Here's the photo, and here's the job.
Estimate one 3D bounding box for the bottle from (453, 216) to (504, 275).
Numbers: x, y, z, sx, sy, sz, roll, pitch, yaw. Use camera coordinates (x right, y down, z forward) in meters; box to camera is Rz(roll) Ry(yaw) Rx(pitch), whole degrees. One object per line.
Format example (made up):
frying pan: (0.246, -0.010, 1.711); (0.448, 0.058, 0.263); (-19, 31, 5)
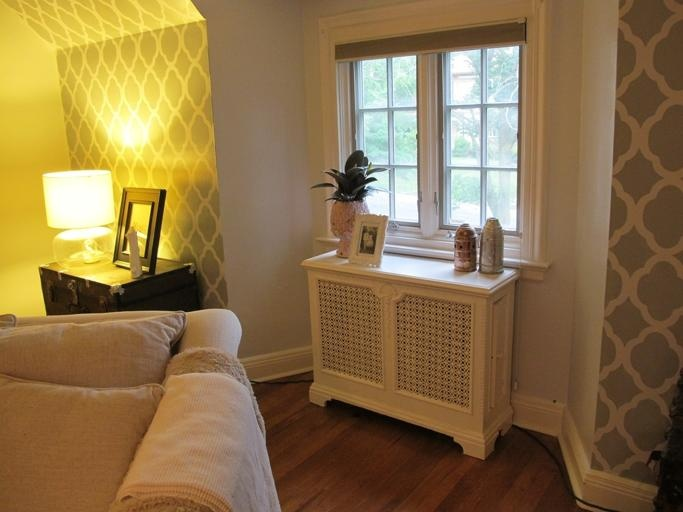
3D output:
bottle: (0.732, -0.066, 2.855); (0.314, 0.351, 0.194); (6, 18, 28)

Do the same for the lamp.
lamp: (-1.696, -0.264, 3.491); (0.396, 0.585, 0.504); (-6, 11, -24)

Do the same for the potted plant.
potted plant: (0.057, -0.286, 3.128); (0.331, 0.552, 0.370); (4, -2, -8)

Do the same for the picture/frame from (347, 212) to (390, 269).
picture/frame: (0.139, -0.084, 2.984); (0.239, 0.352, 0.036); (12, 5, 32)

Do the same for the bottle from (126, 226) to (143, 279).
bottle: (-1.220, -0.023, 3.123); (0.068, 0.281, 0.186); (-6, 10, -22)

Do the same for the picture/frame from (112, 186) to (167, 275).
picture/frame: (-1.240, -0.151, 3.282); (0.441, 0.587, 0.056); (10, 4, 40)

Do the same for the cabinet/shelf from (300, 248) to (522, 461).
cabinet/shelf: (0.418, 0.539, 2.861); (0.879, 0.774, 0.342); (6, 11, 36)
